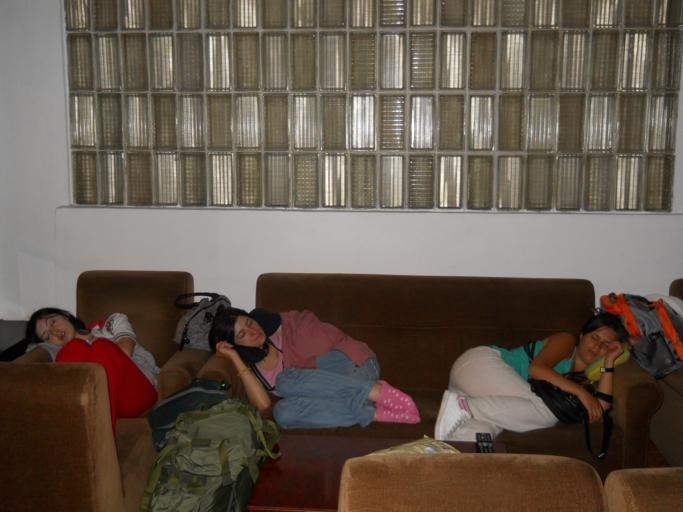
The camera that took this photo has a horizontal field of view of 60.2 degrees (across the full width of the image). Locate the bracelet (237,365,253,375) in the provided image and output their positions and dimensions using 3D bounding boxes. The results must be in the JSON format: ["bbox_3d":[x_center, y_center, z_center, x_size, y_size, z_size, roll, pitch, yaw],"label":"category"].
[{"bbox_3d":[-0.511,0.590,3.095,0.074,0.034,0.056,-3,4,-19],"label":"bracelet"}]

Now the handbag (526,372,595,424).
[{"bbox_3d":[1.083,0.723,2.922,0.261,0.116,0.206,34,30,26],"label":"handbag"}]

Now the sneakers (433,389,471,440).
[{"bbox_3d":[0.545,0.788,2.861,0.116,0.319,0.106,3,-30,7],"label":"sneakers"}]

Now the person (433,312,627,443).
[{"bbox_3d":[0.932,0.637,2.980,0.776,0.664,0.604,-12,-14,40],"label":"person"}]

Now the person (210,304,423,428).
[{"bbox_3d":[-0.152,0.607,3.107,1.025,0.483,0.561,11,38,18],"label":"person"}]
